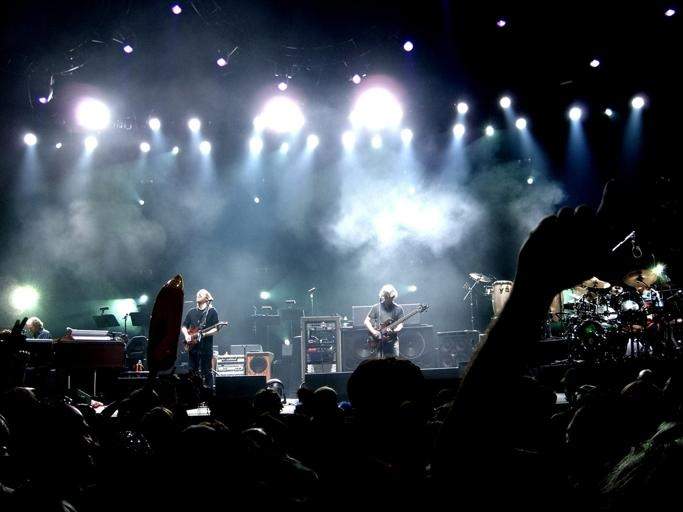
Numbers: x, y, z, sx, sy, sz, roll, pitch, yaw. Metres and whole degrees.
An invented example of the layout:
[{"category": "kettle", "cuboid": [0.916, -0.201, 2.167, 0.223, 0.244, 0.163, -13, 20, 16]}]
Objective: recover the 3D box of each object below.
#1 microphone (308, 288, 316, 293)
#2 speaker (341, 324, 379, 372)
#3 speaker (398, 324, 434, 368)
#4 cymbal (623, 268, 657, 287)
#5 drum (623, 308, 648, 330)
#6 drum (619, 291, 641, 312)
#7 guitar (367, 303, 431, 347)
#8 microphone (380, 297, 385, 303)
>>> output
[{"category": "microphone", "cuboid": [-0.803, 0.943, 16.376, 0.141, 0.042, 0.145, -4, -39, -2]}, {"category": "speaker", "cuboid": [0.266, 1.909, 12.357, 0.615, 1.127, 0.816, -2, -13, 10]}, {"category": "speaker", "cuboid": [1.438, 1.796, 12.218, 0.795, 1.150, 0.640, 1, 11, 3]}, {"category": "cymbal", "cuboid": [4.800, 0.370, 9.415, 0.470, 0.247, 0.606, -8, -14, 28]}, {"category": "drum", "cuboid": [4.780, 1.043, 9.603, 0.323, 0.245, 0.324, 0, -11, 0]}, {"category": "drum", "cuboid": [4.883, 0.757, 9.866, 0.337, 0.369, 0.349, 4, -5, 1]}, {"category": "guitar", "cuboid": [1.150, 1.421, 11.954, 1.536, 0.613, 0.189, -39, -30, 17]}, {"category": "microphone", "cuboid": [0.897, 0.931, 12.386, 0.098, 0.100, 0.179, 4, -4, -5]}]
